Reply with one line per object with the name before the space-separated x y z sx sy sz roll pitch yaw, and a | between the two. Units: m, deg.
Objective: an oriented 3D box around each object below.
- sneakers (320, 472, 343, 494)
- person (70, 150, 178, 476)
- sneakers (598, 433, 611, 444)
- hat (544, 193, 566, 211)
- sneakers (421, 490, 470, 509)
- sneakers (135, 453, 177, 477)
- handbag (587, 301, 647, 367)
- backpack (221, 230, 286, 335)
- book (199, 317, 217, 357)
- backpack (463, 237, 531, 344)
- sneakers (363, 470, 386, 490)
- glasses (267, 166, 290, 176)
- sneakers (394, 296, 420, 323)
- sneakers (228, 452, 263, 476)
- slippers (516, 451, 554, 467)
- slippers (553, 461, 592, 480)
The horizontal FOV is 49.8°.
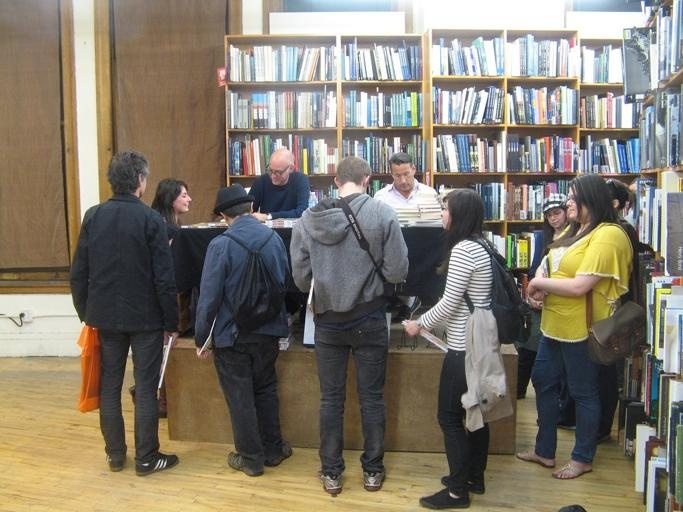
sneakers | -0.063 1.524 4.840 0.078 0.090 0.187 -1 10 -15
person | -1.490 0.403 5.062 0.682 2.236 0.289 -4 5 -21
sneakers | 1.935 1.360 5.419 0.044 0.056 0.132 -15 -20 38
hat | 1.657 -0.417 5.720 0.163 0.128 0.259 -1 6 15
sneakers | 0.661 1.589 4.716 0.306 0.143 0.128 3 -2 2
sneakers | -1.284 1.460 5.101 0.116 0.121 0.266 8 14 43
handbag | 1.823 0.516 4.832 0.414 0.321 0.159 -22 17 -18
backpack | -0.582 0.172 4.946 0.380 0.673 0.155 -3 5 -11
book | -0.902 0.557 4.956 0.072 0.236 0.168 13 16 9
backpack | 1.031 0.199 4.807 0.384 0.725 0.510 -1 10 1
sneakers | 0.213 1.508 4.865 0.069 0.085 0.181 1 5 8
glasses | -0.529 -0.730 6.337 0.187 0.112 0.158 -3 6 -5
sneakers | 0.514 0.416 5.680 0.109 0.148 0.320 0 0 17
sneakers | -0.679 1.465 5.085 0.290 0.135 0.112 18 17 37
slippers | 1.355 1.437 5.146 0.240 0.095 0.092 13 9 37
slippers | 1.571 1.453 5.039 0.239 0.195 0.118 2 -1 5
